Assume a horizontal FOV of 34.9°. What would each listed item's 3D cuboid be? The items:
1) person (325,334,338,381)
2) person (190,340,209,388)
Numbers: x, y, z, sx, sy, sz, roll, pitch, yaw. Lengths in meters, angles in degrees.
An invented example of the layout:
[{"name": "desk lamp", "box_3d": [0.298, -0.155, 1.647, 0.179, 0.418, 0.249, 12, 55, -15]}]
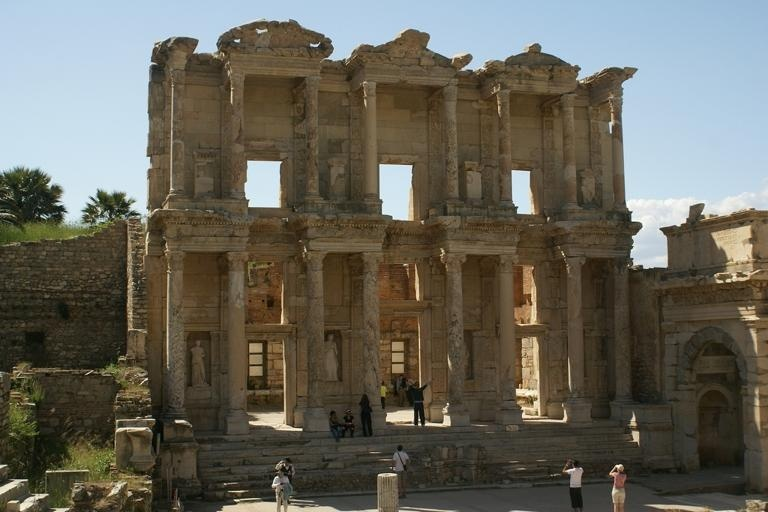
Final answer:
[{"name": "person", "box_3d": [-1.926, 3.766, 46.338, 0.586, 1.825, 0.376, 2, -9, -23]}, {"name": "person", "box_3d": [-6.828, 3.904, 45.247, 0.603, 1.717, 0.381, -1, -9, -4]}]
